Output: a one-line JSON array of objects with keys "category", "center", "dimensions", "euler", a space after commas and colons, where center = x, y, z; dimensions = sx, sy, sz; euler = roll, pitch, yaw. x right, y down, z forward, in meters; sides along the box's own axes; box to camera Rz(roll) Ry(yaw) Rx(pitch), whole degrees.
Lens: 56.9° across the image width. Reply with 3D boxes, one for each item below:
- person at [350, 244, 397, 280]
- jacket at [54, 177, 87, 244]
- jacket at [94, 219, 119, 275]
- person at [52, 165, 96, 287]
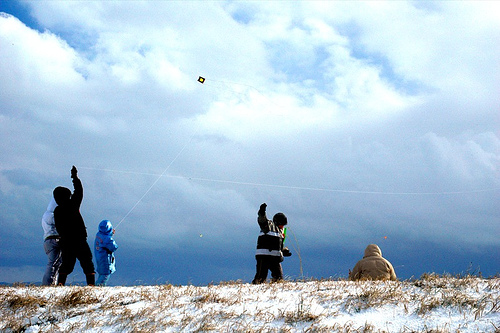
[{"category": "person", "center": [3.367, 2.682, 12.611], "dimensions": [1.141, 0.695, 1.897], "euler": [3, 8, 28]}, {"category": "jacket", "center": [-4.906, 1.178, 12.487], "dimensions": [0.878, 2.362, 0.699], "euler": [-2, -48, -29]}, {"category": "jacket", "center": [-3.955, 2.208, 12.667], "dimensions": [0.551, 1.459, 0.439], "euler": [-4, 8, -19]}, {"category": "person", "center": [-4.661, 1.491, 12.089], "dimensions": [1.067, 2.979, 0.922], "euler": [-2, 8, -6]}]
